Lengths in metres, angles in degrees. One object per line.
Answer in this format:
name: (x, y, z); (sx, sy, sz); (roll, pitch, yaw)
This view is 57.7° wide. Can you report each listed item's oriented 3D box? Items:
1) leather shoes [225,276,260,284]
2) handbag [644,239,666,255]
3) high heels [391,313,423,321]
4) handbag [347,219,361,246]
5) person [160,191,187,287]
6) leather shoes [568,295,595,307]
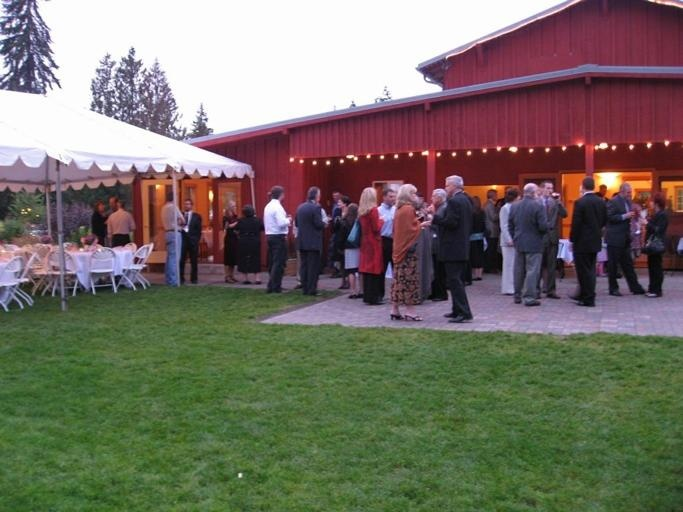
leather shoes: (-2.315, 0.570, 14.479); (0.464, 0.216, 0.149); (-3, -3, 16)
handbag: (5.209, -0.149, 10.315); (0.236, 0.239, 0.111); (-10, -11, 34)
high heels: (0.936, 0.906, 8.928); (0.433, 0.189, 0.164); (-2, 0, 11)
handbag: (0.221, -0.399, 10.725); (0.228, 0.558, 0.441); (3, 4, 9)
person: (-3.641, -0.358, 13.475); (0.465, 1.978, 0.790); (-4, 7, -17)
leather shoes: (3.802, 0.697, 9.832); (0.123, 0.166, 0.379); (1, 14, -24)
